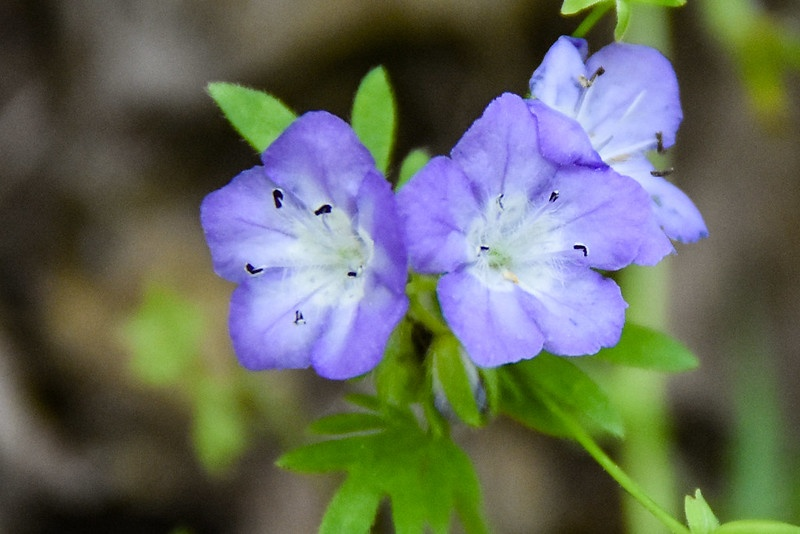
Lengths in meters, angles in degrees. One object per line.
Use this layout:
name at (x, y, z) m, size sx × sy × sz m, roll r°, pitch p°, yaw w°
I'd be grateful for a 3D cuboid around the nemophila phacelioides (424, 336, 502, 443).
nemophila phacelioides at (0.105, 0.229, 1.585) m, size 0.097 × 0.036 × 0.137 m, roll -28°, pitch 84°, yaw 38°
